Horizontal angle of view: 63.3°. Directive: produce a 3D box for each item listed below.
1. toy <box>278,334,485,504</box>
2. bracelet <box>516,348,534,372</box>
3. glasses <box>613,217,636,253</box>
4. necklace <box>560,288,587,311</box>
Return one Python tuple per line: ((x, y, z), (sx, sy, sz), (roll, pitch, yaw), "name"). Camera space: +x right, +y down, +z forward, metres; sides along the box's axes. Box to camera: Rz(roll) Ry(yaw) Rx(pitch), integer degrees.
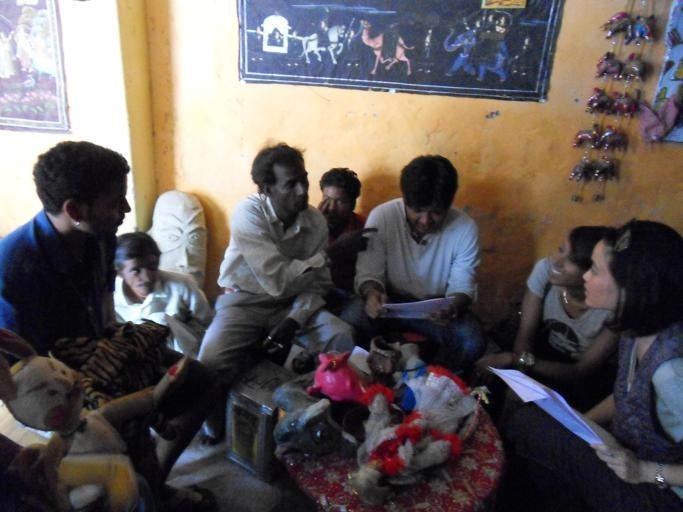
((0.256, 0.792, 2.690), (0.791, 0.312, 0.710), (-24, 45, -27), "toy")
((1.139, 0.649, 3.432), (0.112, 0.046, 0.087), (12, 55, 30), "bracelet")
((1.413, -0.103, 2.771), (0.056, 0.166, 0.122), (8, 15, 12), "glasses")
((1.456, 0.281, 3.517), (0.107, 0.046, 0.126), (22, -15, 38), "necklace")
